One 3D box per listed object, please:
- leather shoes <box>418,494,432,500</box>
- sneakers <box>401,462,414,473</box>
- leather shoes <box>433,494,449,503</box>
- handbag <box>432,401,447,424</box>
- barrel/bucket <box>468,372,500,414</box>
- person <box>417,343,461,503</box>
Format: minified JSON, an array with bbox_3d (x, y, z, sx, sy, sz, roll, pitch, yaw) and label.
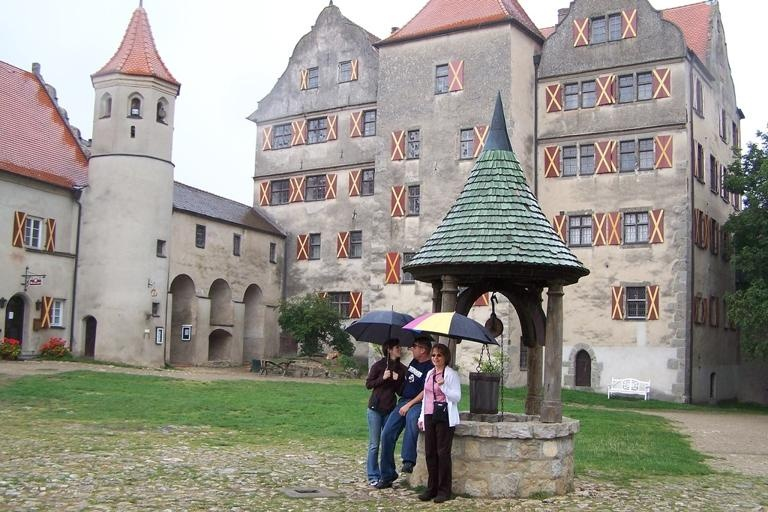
[{"bbox_3d":[0.820,4.893,15.909,0.203,0.088,0.116,12,-15,6],"label":"leather shoes"},{"bbox_3d":[0.481,4.473,16.504,0.250,0.238,0.356,3,-1,2],"label":"sneakers"},{"bbox_3d":[1.148,4.893,15.752,0.324,0.134,0.116,-3,-9,-5],"label":"leather shoes"},{"bbox_3d":[1.137,3.202,16.008,0.437,0.545,0.215,-1,-9,8],"label":"handbag"},{"bbox_3d":[2.202,3.034,17.431,0.859,0.927,0.834,2,-5,0],"label":"barrel/bucket"},{"bbox_3d":[1.104,3.397,15.981,0.731,3.075,0.483,3,0,12],"label":"person"}]
